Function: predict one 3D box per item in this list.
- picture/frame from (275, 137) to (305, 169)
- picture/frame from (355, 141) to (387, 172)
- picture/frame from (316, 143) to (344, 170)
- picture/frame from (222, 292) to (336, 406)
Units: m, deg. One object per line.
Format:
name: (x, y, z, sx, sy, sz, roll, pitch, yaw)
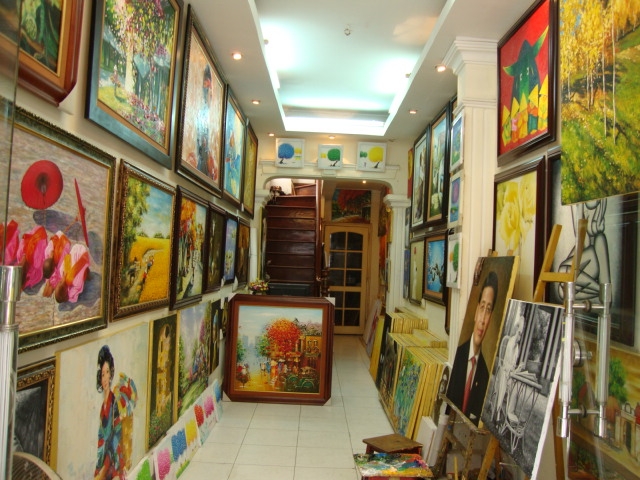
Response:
picture/frame: (-0.419, -1.269, 6.473, 0.336, 0.412, 0.053, 1, -3, 1)
picture/frame: (0.718, -1.229, 6.512, 0.339, 0.415, 0.054, 1, 0, -6)
picture/frame: (0.141, -1.201, 6.471, 0.294, 0.372, 0.043, 0, 1, 2)
picture/frame: (-0.486, 1.243, 5.039, 0.967, 1.239, 0.111, 3, -5, 2)
